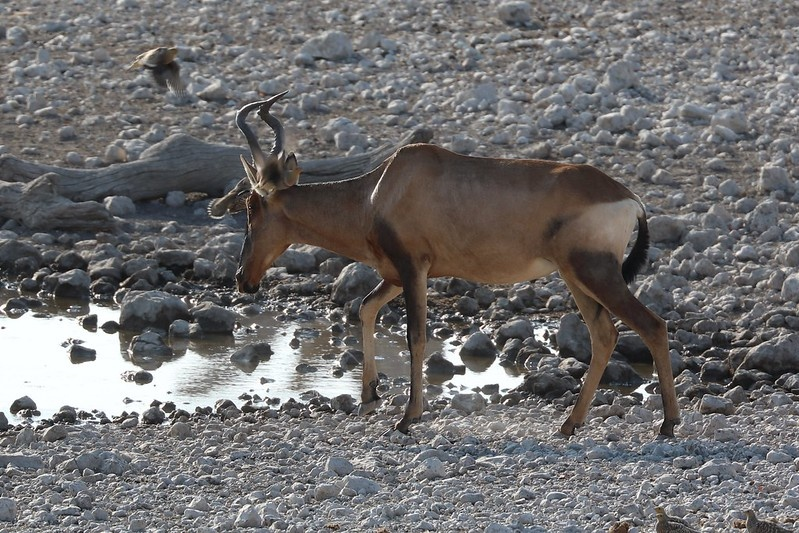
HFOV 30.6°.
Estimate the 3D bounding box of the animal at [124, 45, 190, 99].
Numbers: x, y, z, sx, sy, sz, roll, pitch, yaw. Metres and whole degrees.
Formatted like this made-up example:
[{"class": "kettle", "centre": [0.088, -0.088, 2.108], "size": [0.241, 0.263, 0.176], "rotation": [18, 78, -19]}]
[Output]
[{"class": "animal", "centre": [-2.677, -2.240, 16.930], "size": [0.658, 0.396, 0.948], "rotation": [9, 27, -30]}]
